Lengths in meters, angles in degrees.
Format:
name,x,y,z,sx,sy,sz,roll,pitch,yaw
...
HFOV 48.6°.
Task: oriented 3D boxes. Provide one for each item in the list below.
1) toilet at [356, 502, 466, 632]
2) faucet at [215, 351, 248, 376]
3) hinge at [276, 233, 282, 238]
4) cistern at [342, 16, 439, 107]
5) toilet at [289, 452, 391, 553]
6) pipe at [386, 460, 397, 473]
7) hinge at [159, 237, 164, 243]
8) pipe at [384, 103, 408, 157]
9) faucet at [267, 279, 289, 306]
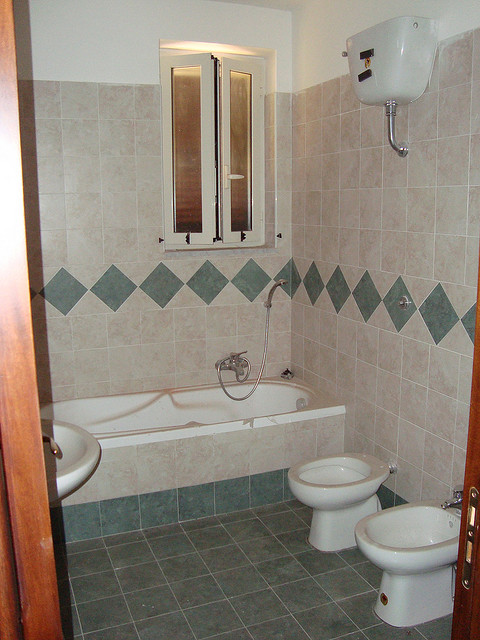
name,x,y,z,sx,sy,sz,roll,pitch,yaw
toilet,0.721,1.008,2.177,0.484,0.356,0.328,-5,6,-22
faucet,-0.036,0.279,3.468,0.125,0.119,0.200,0,1,-26
hinge,0.263,-0.582,3.628,0.021,0.034,0.007,0,1,-6
cistern,0.637,-1.079,2.270,0.241,0.319,0.396,-11,15,-35
toilet,0.509,0.942,2.724,0.488,0.409,0.387,-6,9,-20
pipe,0.777,0.750,2.710,0.046,0.016,0.047,-21,23,-21
hinge,-0.495,-0.504,3.307,0.029,0.022,0.034,-2,14,-24
pipe,0.703,-0.856,2.394,0.093,0.207,0.239,3,9,28
faucet,0.260,-0.192,3.617,0.147,0.172,0.227,0,8,4
